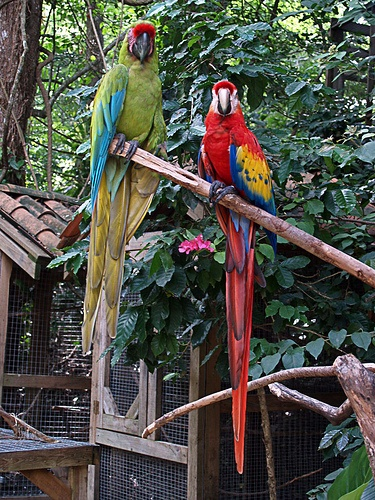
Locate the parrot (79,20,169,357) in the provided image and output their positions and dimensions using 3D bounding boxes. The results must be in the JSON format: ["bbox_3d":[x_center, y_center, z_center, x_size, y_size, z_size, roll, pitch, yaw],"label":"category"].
[{"bbox_3d":[-0.288,-0.331,4.297,0.374,1.327,0.534,0,-1,-34],"label":"parrot"}]
